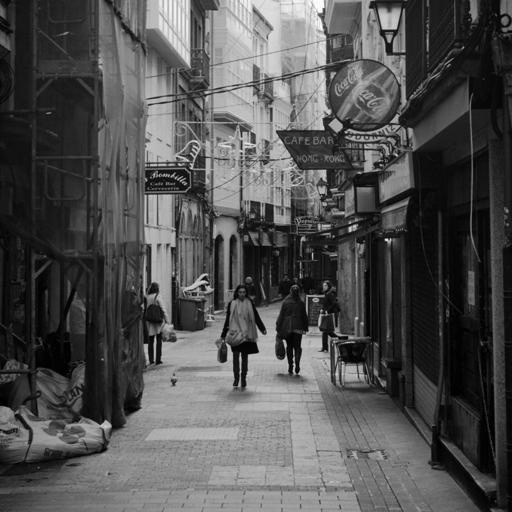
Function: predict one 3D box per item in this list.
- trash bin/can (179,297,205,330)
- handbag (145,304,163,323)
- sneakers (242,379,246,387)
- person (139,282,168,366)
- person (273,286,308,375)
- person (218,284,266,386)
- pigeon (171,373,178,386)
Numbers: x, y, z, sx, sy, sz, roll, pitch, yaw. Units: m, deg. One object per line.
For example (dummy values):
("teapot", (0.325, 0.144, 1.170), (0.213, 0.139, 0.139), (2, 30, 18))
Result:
("trash bin/can", (-2.355, 2.064, 28.448), (0.706, 1.176, 0.690), (-1, -6, -2))
("handbag", (-2.282, 1.278, 17.850), (0.243, 0.421, 0.135), (-1, -16, 9))
("sneakers", (-0.232, 2.291, 14.464), (0.074, 0.189, 0.101), (2, -6, -14))
("person", (-2.342, 1.551, 18.375), (0.536, 1.859, 1.595), (-1, -3, -9))
("person", (0.712, 1.511, 16.302), (0.621, 1.785, 0.563), (-2, -2, 0))
("person", (-0.237, 1.453, 14.604), (0.643, 1.858, 0.941), (-3, -3, 30))
("pigeon", (-1.527, 2.284, 14.764), (0.088, 0.226, 0.342), (0, -15, -3))
